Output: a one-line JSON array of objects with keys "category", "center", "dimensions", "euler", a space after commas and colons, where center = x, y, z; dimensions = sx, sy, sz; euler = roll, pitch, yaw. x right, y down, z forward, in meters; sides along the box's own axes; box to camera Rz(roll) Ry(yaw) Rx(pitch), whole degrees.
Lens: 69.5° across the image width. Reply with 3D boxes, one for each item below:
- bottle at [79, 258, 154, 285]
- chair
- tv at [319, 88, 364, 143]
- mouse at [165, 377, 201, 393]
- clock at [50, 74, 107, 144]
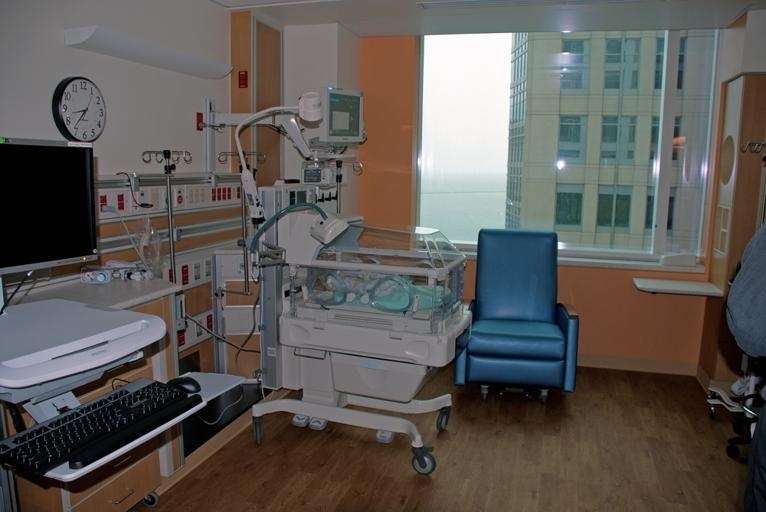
[{"category": "bottle", "center": [-1.647, 0.108, 3.422], "dimensions": [0.314, 0.117, 0.184], "euler": [2, -1, -6]}, {"category": "chair", "center": [1.071, 0.488, 4.562], "dimensions": [0.938, 1.339, 0.700], "euler": [-1, 12, 8]}, {"category": "tv", "center": [-0.328, -1.083, 4.309], "dimensions": [0.493, 0.532, 0.064], "euler": [-2, 3, -44]}, {"category": "mouse", "center": [-1.043, 0.660, 2.856], "dimensions": [0.159, 0.052, 0.101], "euler": [13, 0, 5]}, {"category": "clock", "center": [-1.927, -0.928, 3.509], "dimensions": [0.067, 0.394, 0.370], "euler": [2, 12, 22]}]
